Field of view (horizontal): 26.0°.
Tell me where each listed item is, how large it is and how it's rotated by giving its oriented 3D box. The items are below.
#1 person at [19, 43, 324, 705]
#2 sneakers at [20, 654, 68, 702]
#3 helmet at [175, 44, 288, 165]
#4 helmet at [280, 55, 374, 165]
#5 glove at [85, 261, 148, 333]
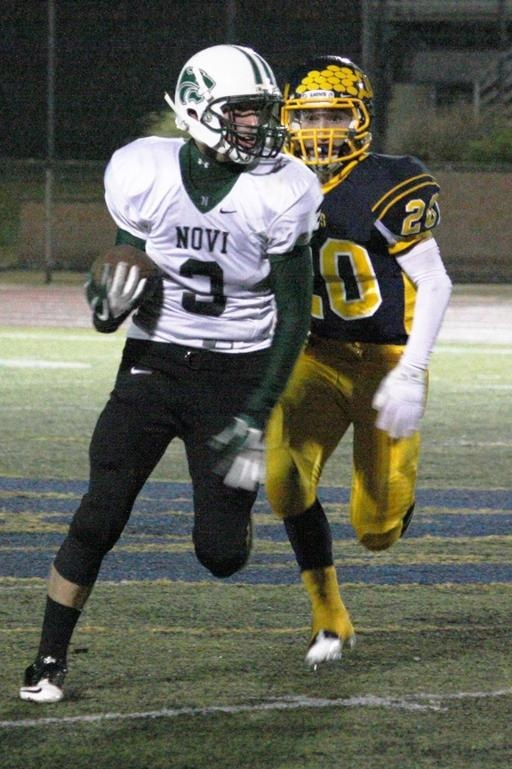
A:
[{"bbox_3d":[-0.181,-0.043,2.618,0.585,1.497,0.691,5,18,2],"label":"person"},{"bbox_3d":[-0.497,0.670,2.564,0.104,0.097,0.115,1,15,-9],"label":"sneakers"},{"bbox_3d":[-0.079,-0.682,2.695,0.332,0.198,0.225,20,28,37],"label":"helmet"},{"bbox_3d":[0.210,-0.774,3.152,0.272,0.227,0.292,6,24,19],"label":"helmet"},{"bbox_3d":[-0.312,-0.189,2.526,0.167,0.149,0.056,29,16,20],"label":"glove"}]
